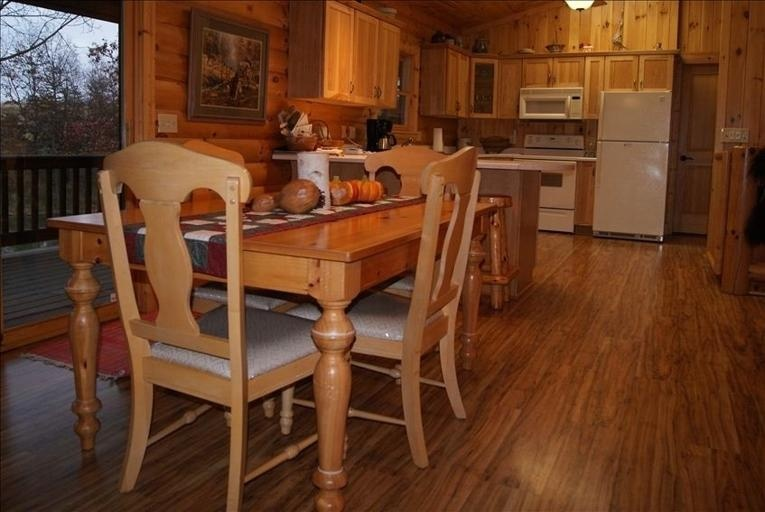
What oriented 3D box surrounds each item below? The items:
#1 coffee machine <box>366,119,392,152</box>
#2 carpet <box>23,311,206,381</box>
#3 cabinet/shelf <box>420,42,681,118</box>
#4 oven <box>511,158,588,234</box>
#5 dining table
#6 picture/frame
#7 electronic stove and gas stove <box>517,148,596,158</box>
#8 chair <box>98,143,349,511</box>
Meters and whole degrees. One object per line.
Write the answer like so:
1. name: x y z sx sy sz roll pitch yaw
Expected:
1. coffee machine: -0.051 -1.276 5.804 0.362 0.457 0.303 -1 7 -4
2. carpet: -1.777 0.557 3.456 0.760 0.052 0.819 21 16 18
3. cabinet/shelf: 2.106 -2.443 7.653 3.153 0.990 0.818 1 13 4
4. oven: 2.355 -0.845 7.761 0.688 0.847 0.634 1 3 6
5. dining table: -0.494 0.076 2.466 1.200 0.916 1.573 4 10 22
6. picture/frame: -1.209 -1.517 4.461 0.987 0.847 0.073 20 22 32
7. electronic stove and gas stove: 2.428 -1.501 7.965 1.153 0.134 0.550 6 14 27
8. chair: -0.640 0.261 2.084 0.800 1.375 0.488 -1 13 -1
